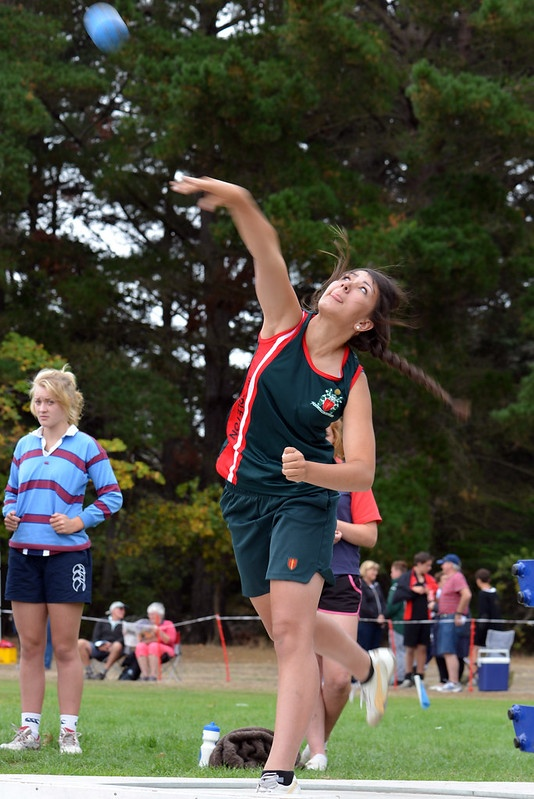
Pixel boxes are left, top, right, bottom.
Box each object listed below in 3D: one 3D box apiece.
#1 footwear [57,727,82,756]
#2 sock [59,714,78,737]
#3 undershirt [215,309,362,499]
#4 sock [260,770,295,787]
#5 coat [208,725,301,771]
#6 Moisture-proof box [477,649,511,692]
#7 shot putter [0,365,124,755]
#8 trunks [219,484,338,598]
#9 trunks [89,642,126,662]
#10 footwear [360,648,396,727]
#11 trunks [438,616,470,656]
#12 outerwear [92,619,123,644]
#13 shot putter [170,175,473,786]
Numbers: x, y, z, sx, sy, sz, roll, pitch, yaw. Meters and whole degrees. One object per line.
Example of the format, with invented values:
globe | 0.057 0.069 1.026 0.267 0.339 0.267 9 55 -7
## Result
footwear | -0.865 1.495 4.463 0.075 0.055 0.159 1 -2 -18
sock | -0.885 1.454 4.572 0.081 0.081 0.092 9 -14 -26
undershirt | 0.095 0.016 3.764 0.457 0.572 0.355 12 3 11
sock | 0.031 1.220 3.296 0.135 0.044 0.041 4 0 -9
coat | -0.114 1.515 4.511 0.375 0.145 0.386 0 -3 1
Moisture-proof box | 2.460 2.945 11.124 0.338 0.512 0.476 2 -5 9
shot putter | -0.969 0.728 4.673 0.547 1.641 0.549 3 -5 -7
trunks | 0.014 0.515 3.654 0.423 0.420 0.311 1 -5 14
trunks | -2.054 3.202 13.068 0.342 0.277 0.122 0 30 11
footwear | 0.444 1.202 4.244 0.172 0.312 0.116 3 4 -9
trunks | 1.966 2.471 10.799 0.319 0.425 0.508 -1 -9 28
outerwear | -2.076 3.020 13.326 0.415 0.336 0.201 8 -47 3
shot putter | 0.077 0.274 3.618 0.611 2.031 0.754 1 -5 17
